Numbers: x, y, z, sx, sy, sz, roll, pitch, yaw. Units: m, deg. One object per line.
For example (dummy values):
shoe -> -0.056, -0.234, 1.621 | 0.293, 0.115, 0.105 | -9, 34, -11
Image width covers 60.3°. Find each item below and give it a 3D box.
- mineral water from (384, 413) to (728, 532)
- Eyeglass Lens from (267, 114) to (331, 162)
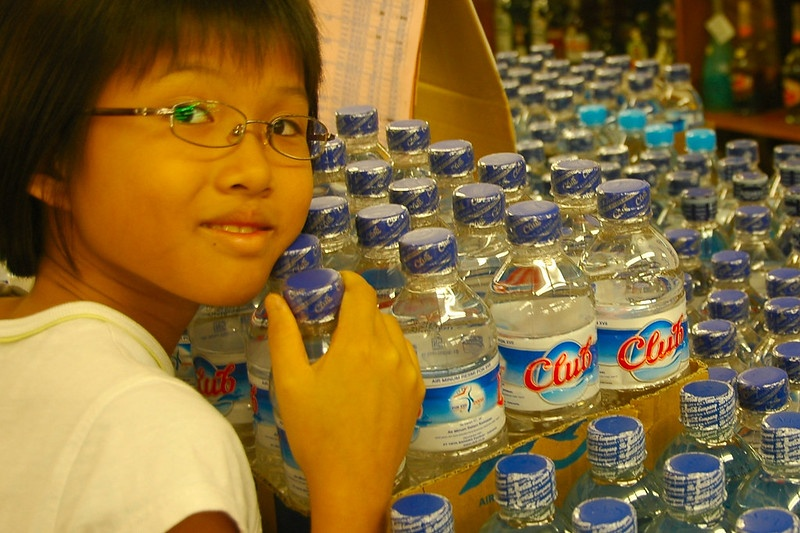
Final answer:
mineral water -> 0.233, 0.337, 1.186 | 0.283, 0.072, 0.303 | -18, 5, -6
Eyeglass Lens -> -0.176, -0.220, 1.184 | 0.082, 0.029, 0.083 | 12, 20, 23
